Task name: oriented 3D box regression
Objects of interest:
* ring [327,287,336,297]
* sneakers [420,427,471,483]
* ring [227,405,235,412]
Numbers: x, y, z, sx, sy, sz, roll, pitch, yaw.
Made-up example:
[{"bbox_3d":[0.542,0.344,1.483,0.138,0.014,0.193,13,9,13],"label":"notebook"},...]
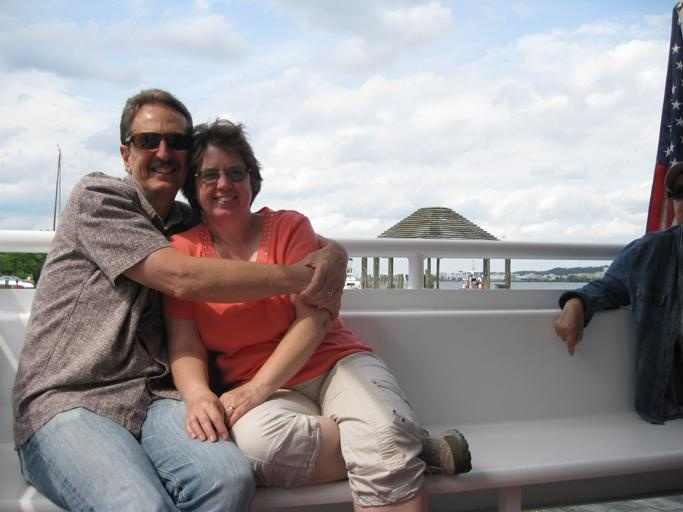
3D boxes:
[{"bbox_3d":[-0.039,0.135,2.145,0.026,0.024,0.042,-3,-15,8],"label":"ring"},{"bbox_3d":[0.371,0.693,2.061,0.169,0.130,0.167,10,38,1],"label":"sneakers"},{"bbox_3d":[-0.370,0.506,1.926,0.018,0.018,0.016,3,-7,-19],"label":"ring"}]
